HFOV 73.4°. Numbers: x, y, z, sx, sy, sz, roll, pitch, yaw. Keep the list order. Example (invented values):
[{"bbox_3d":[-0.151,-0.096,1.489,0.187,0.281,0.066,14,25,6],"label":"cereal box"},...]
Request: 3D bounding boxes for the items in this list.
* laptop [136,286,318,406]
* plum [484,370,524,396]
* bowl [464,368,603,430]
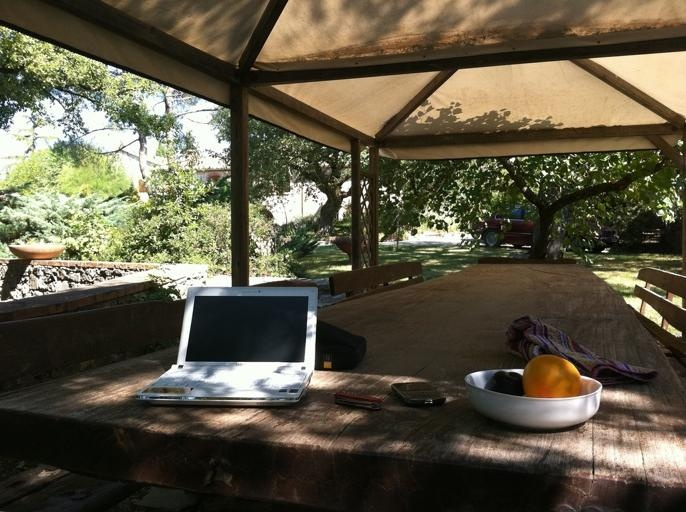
[{"bbox_3d":[-0.245,0.201,1.056,0.375,0.177,0.331,-1,7,-6],"label":"laptop"},{"bbox_3d":[0.325,0.248,0.926,0.047,0.050,0.057,-11,2,-28],"label":"plum"},{"bbox_3d":[0.366,0.283,0.912,0.239,0.089,0.188,4,6,31],"label":"bowl"}]
